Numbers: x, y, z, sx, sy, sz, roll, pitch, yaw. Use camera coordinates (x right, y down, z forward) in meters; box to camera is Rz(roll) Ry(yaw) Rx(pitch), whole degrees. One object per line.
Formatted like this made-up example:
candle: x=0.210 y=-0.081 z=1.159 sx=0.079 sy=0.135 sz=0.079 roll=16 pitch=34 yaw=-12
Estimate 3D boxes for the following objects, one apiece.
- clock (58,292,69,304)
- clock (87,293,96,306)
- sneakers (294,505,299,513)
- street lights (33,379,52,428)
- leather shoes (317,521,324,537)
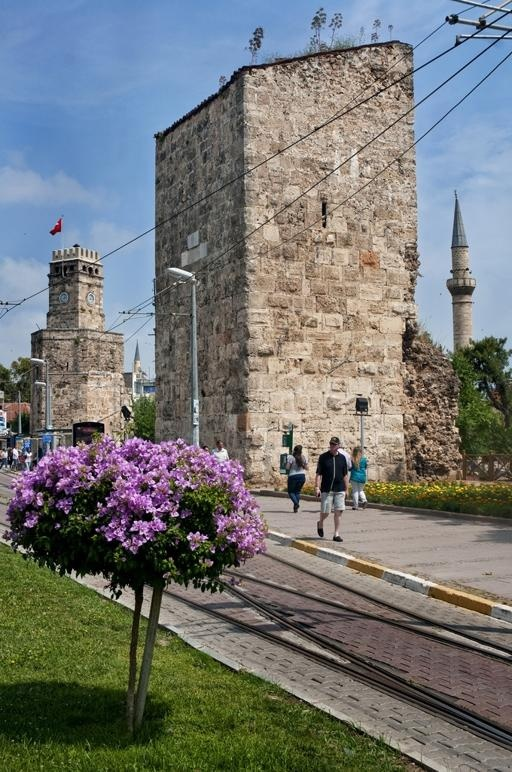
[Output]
clock: x=-14.181 y=-6.444 z=72.588 sx=0.822 sy=0.798 sz=0.237 roll=3 pitch=0 yaw=28
clock: x=-12.376 y=-6.421 z=73.606 sx=0.116 sy=0.866 sz=0.928 roll=-5 pitch=-10 yaw=18
sneakers: x=0.784 y=2.374 z=18.881 sx=0.051 sy=0.166 sz=0.112 roll=0 pitch=-8 yaw=-10
street lights: x=-10.087 y=0.943 z=46.718 sx=0.864 sy=2.286 sz=0.611 roll=2 pitch=1 yaw=-33
leather shoes: x=0.984 y=2.193 z=14.941 sx=0.077 sy=0.241 sz=0.065 roll=-4 pitch=-10 yaw=1
